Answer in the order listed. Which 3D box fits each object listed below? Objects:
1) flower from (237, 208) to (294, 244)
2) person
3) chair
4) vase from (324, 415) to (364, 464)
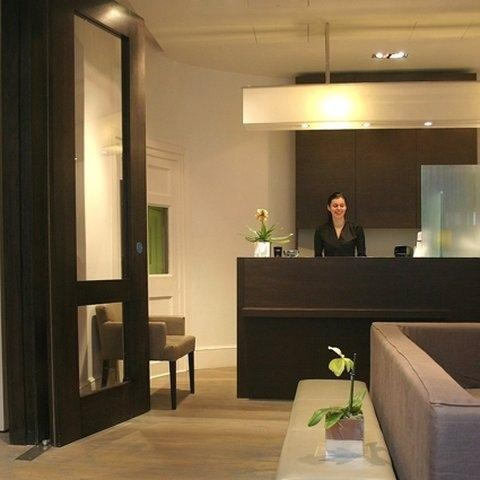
[{"bbox_3d":[0.169,-0.106,4.317,0.328,0.258,0.338,-8,-2,-9],"label":"flower"},{"bbox_3d":[0.910,0.106,5.026,0.391,1.052,0.255,-1,-19,8],"label":"person"},{"bbox_3d":[-0.678,0.761,3.886,0.609,0.908,0.617,-1,-3,13],"label":"chair"},{"bbox_3d":[0.339,0.649,1.873,0.145,0.182,0.120,0,-9,4],"label":"vase"}]
